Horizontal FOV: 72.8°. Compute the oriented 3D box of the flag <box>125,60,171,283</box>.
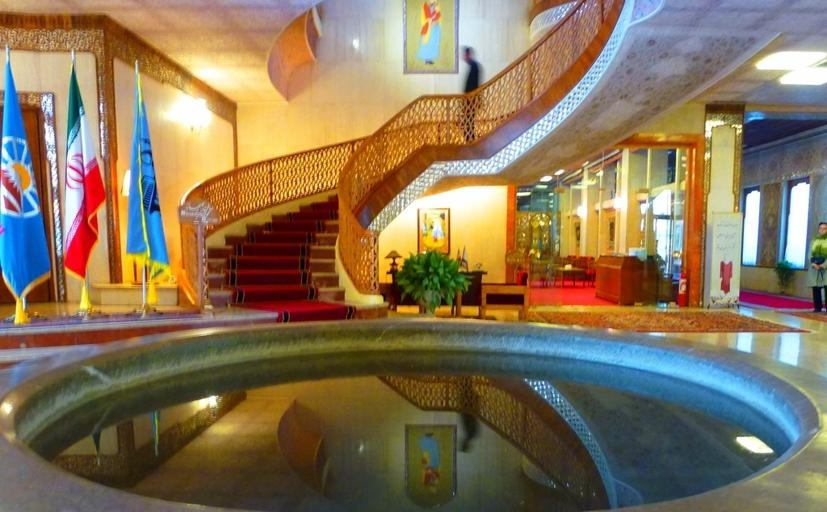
[{"bbox_3d":[-3.656,-1.097,7.532,0.489,2.821,0.559,-4,11,-25],"label":"flag"}]

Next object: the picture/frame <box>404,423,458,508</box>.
[{"bbox_3d":[0.126,1.554,4.119,0.479,0.087,0.771,0,37,0],"label":"picture/frame"}]

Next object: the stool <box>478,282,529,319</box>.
[{"bbox_3d":[1.665,0.808,10.299,0.771,0.526,0.610,0,1,1],"label":"stool"}]

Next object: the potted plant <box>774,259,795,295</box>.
[{"bbox_3d":[9.137,0.537,13.804,0.407,0.789,0.407,-7,12,-37],"label":"potted plant"}]

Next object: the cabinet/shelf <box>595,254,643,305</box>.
[{"bbox_3d":[4.690,0.542,12.695,0.369,0.772,1.056,-2,5,-9],"label":"cabinet/shelf"}]

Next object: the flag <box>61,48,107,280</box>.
[{"bbox_3d":[-4.321,-1.151,7.253,0.498,2.851,0.699,-4,11,-26],"label":"flag"}]
